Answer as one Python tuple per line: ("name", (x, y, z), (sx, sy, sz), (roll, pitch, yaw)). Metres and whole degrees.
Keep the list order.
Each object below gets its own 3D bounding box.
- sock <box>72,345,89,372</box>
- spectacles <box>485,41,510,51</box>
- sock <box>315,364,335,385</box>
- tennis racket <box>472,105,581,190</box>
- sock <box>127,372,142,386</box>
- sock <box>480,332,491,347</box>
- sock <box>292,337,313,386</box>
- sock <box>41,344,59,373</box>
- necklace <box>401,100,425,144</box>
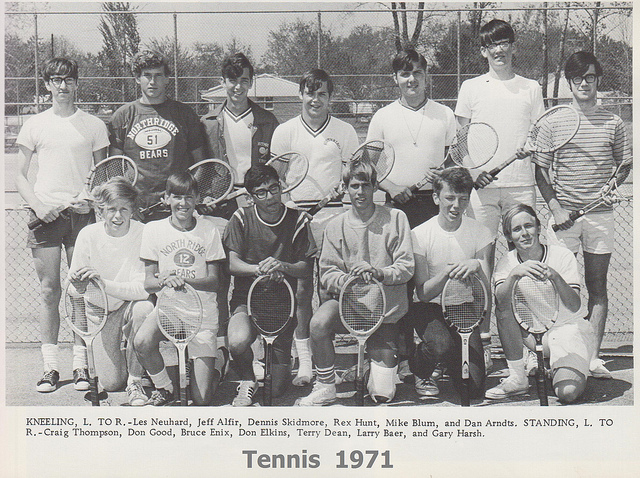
("sock", (-1.955, 0.963, 5.576), (0.153, 0.204, 0.060), (-1, 7, 13))
("spectacles", (1.523, -1.652, 5.890), (0.183, 0.068, 0.047), (0, 7, 15))
("sock", (0.036, 1.046, 5.336), (0.143, 0.138, 0.145), (-3, -2, 25))
("tennis racket", (1.649, -0.700, 5.923), (1.167, 0.491, 0.064), (-40, -42, 20))
("sock", (-1.471, 1.097, 5.409), (0.098, 0.097, 0.094), (2, 0, -29))
("sock", (1.371, 0.829, 5.704), (0.105, 0.101, 0.106), (2, 10, 17))
("sock", (-0.157, 1.003, 5.621), (0.167, 0.374, 0.179), (-3, 7, -2))
("sock", (-2.229, 0.976, 5.657), (0.112, 0.218, 0.135), (-5, 7, -22))
("necklace", (0.806, -0.996, 5.980), (0.183, 0.336, 0.115), (-2, 7, 7))
